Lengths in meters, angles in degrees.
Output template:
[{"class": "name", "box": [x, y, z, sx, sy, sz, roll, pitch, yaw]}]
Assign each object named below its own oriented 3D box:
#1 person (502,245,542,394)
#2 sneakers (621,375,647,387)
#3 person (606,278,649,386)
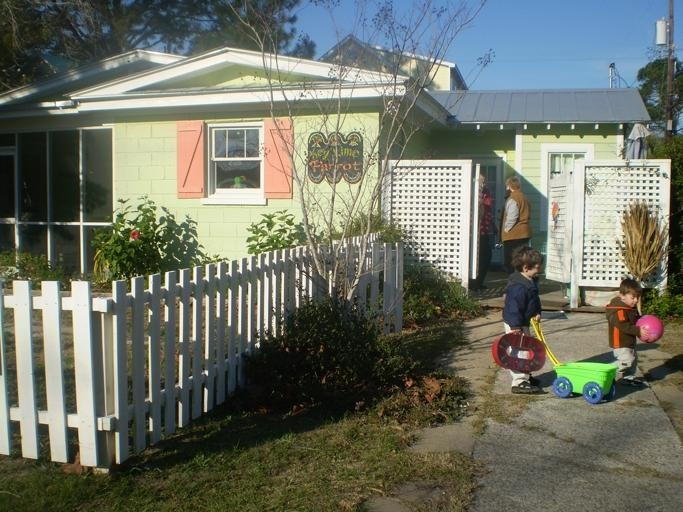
[{"class": "person", "box": [1.921, 0.641, 7.784, 0.393, 1.404, 0.748, 2, 12, 13]}, {"class": "sneakers", "box": [3.092, 1.301, 7.824, 0.301, 0.147, 0.115, 0, 30, 12]}, {"class": "person", "box": [3.037, 0.792, 7.814, 0.419, 1.090, 0.317, 4, 13, 20]}]
